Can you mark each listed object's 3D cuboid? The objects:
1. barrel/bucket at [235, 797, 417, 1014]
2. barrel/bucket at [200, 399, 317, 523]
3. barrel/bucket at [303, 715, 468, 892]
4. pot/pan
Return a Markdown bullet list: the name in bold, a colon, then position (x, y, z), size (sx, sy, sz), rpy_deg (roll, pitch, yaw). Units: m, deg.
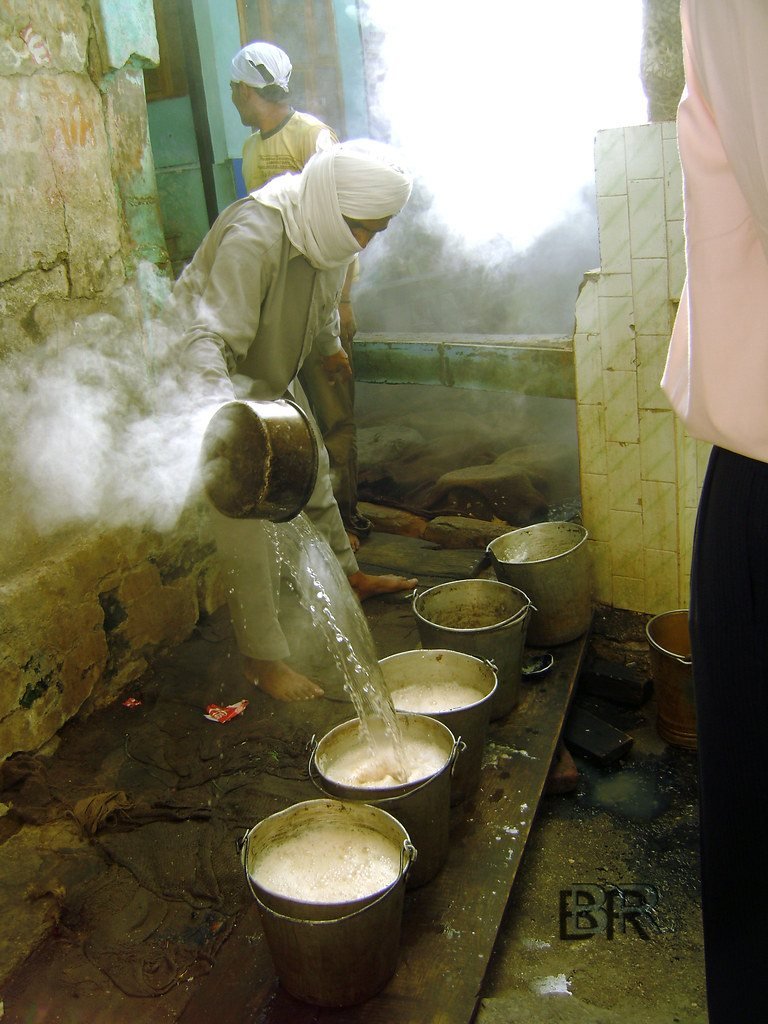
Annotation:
- **barrel/bucket**: position (-0.161, 0.957, 2.049), size (0.468, 0.389, 0.438), rpy_deg (1, 19, 0)
- **barrel/bucket**: position (-0.346, -0.148, 2.358), size (0.273, 0.386, 0.352), rpy_deg (-21, 23, -37)
- **barrel/bucket**: position (0.039, 0.799, 2.432), size (0.465, 0.415, 0.484), rpy_deg (-2, 18, 1)
- **pot/pan**: position (-0.315, -0.146, 2.303), size (0.143, 0.366, 0.311), rpy_deg (1, -27, -44)
